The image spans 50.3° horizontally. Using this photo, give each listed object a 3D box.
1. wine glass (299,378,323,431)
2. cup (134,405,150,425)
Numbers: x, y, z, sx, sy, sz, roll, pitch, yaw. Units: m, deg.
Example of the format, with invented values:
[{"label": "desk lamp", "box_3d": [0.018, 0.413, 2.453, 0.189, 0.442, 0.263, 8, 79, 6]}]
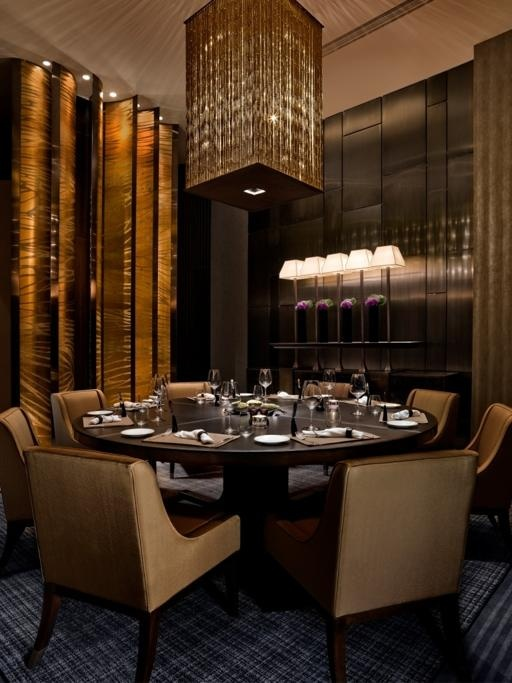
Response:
[{"label": "wine glass", "box_3d": [0.246, 0.301, 2.620, 0.126, 0.374, 0.153, -1, -3, 3]}, {"label": "cup", "box_3d": [-0.521, 0.339, 2.487, 0.054, 0.109, 0.063, 1, 2, -34]}]
